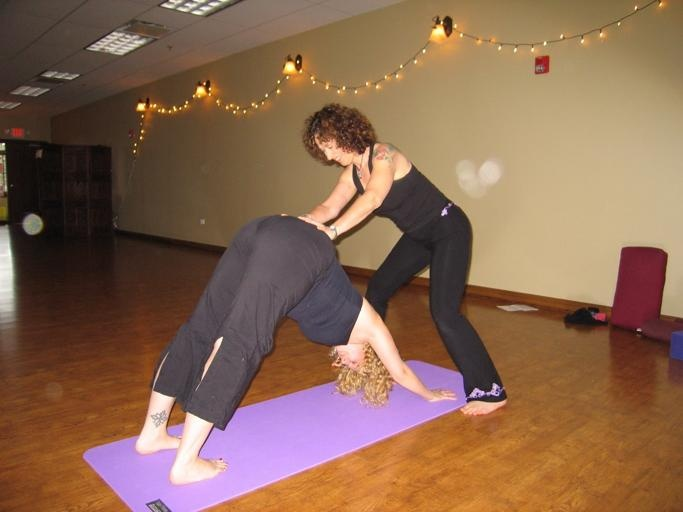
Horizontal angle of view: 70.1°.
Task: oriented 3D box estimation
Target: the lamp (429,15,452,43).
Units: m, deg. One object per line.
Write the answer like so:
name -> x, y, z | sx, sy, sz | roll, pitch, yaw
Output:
lamp -> 1.023, -2.391, 5.062 | 0.255, 0.262, 0.285 | 5, 11, 22

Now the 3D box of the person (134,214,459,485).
person -> -0.164, 0.360, 2.269 | 1.327, 0.989, 0.544 | -5, 7, -34

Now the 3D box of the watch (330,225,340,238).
watch -> -0.027, -0.115, 2.246 | 0.012, 0.053, 0.050 | -14, -34, -1

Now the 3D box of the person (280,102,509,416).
person -> 0.223, 0.038, 2.636 | 1.049, 1.719, 1.002 | -6, 7, 26

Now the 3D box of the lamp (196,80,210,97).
lamp -> -2.233, -2.719, 7.874 | 0.160, 0.274, 0.247 | 16, 14, 26
